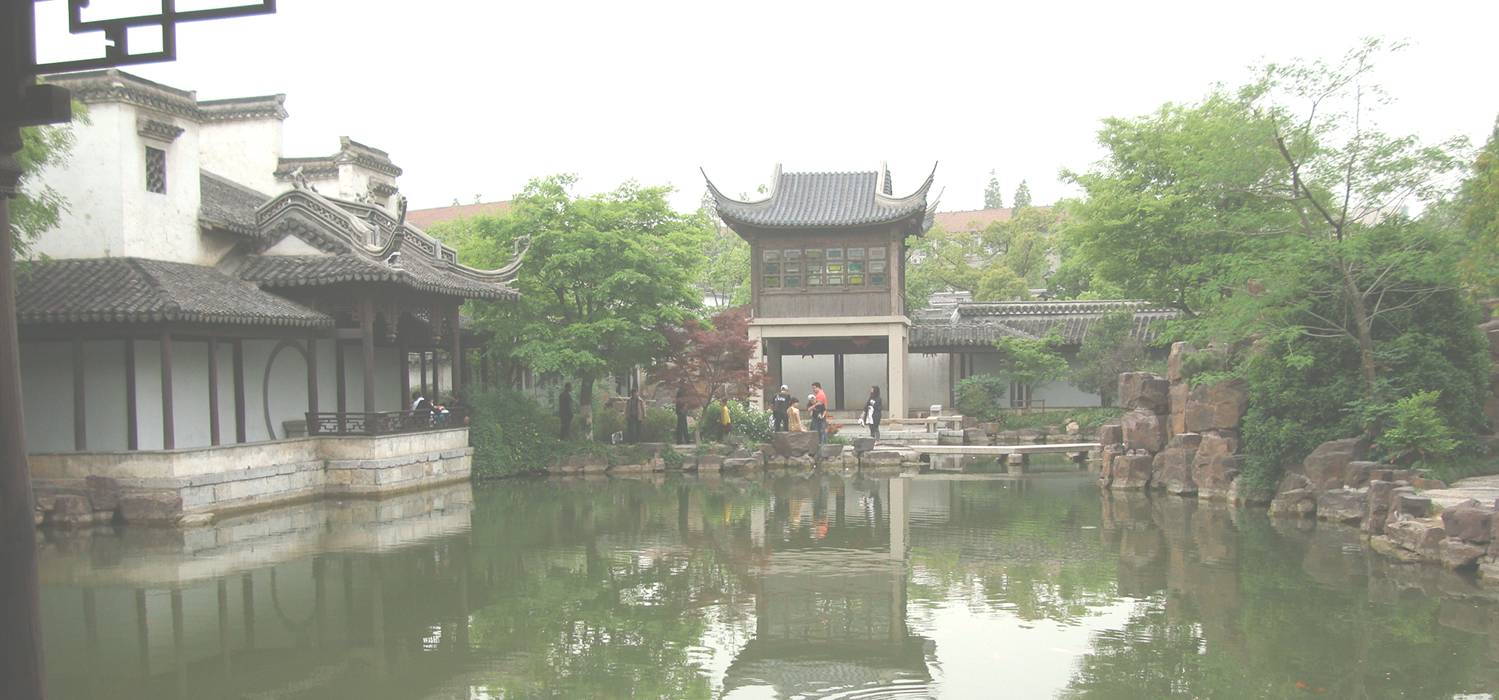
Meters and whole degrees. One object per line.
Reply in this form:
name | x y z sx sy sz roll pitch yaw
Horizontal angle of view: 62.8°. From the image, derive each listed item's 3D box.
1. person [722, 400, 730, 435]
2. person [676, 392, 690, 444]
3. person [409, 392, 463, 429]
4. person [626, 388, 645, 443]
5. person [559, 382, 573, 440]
person | -0.913 2.411 44.926 0.408 1.232 0.669 -2 -3 10
person | -2.444 2.398 44.545 0.455 1.750 0.964 -1 -3 -3
person | -10.257 2.029 40.023 1.686 0.568 1.494 0 3 -15
person | -4.152 2.294 44.300 0.653 1.898 1.208 -1 -3 -5
person | -6.640 2.136 44.182 0.440 1.998 0.754 0 -3 -16
